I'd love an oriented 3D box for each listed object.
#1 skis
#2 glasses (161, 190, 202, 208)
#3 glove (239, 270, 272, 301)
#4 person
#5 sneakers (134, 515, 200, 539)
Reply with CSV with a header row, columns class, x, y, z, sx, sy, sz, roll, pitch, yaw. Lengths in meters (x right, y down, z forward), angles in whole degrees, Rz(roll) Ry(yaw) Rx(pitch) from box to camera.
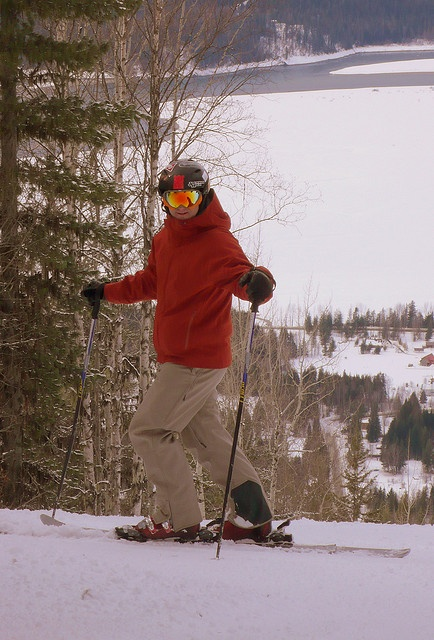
class,x,y,z,sx,sy,sz,roll,pitch,yaw
skis,0.013,1.378,5.328,1.491,0.076,0.177,5,-24,6
glasses,-0.228,-0.749,5.326,0.251,0.132,0.081,5,-7,10
glove,0.237,-0.200,5.093,0.167,0.164,0.192,4,15,-9
person,-0.210,0.190,5.376,1.235,2.420,0.514,3,-7,24
sneakers,-0.303,1.329,5.317,0.420,0.183,0.154,6,-3,-1
